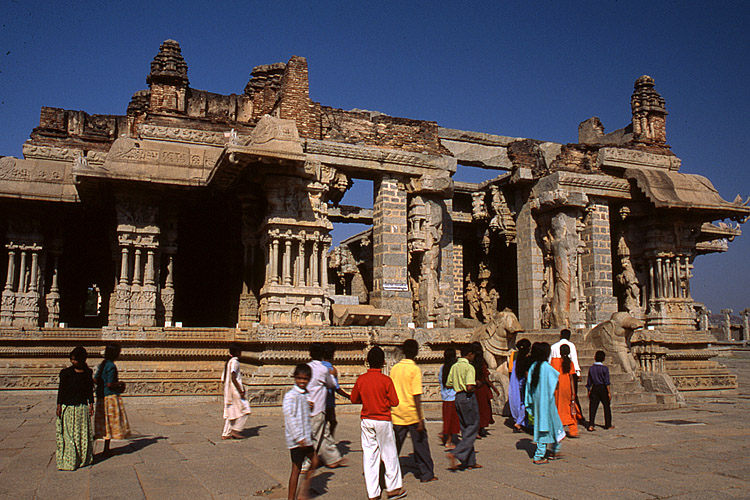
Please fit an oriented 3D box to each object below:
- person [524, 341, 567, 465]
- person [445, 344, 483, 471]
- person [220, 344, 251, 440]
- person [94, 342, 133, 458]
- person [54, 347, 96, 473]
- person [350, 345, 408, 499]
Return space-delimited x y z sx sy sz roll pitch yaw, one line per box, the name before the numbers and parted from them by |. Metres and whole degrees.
person | 3.548 3.201 14.667 0.660 2.463 0.584 -3 -10 11
person | 1.794 3.208 14.274 0.604 2.489 0.834 -2 -9 5
person | -3.173 3.250 15.905 0.604 2.066 0.555 1 -10 -12
person | -5.557 3.151 14.742 0.719 2.258 0.585 2 -10 -19
person | -5.967 3.179 13.936 0.687 2.402 0.357 3 -10 -22
person | 0.076 3.242 13.080 0.951 2.826 0.533 -1 -9 2
